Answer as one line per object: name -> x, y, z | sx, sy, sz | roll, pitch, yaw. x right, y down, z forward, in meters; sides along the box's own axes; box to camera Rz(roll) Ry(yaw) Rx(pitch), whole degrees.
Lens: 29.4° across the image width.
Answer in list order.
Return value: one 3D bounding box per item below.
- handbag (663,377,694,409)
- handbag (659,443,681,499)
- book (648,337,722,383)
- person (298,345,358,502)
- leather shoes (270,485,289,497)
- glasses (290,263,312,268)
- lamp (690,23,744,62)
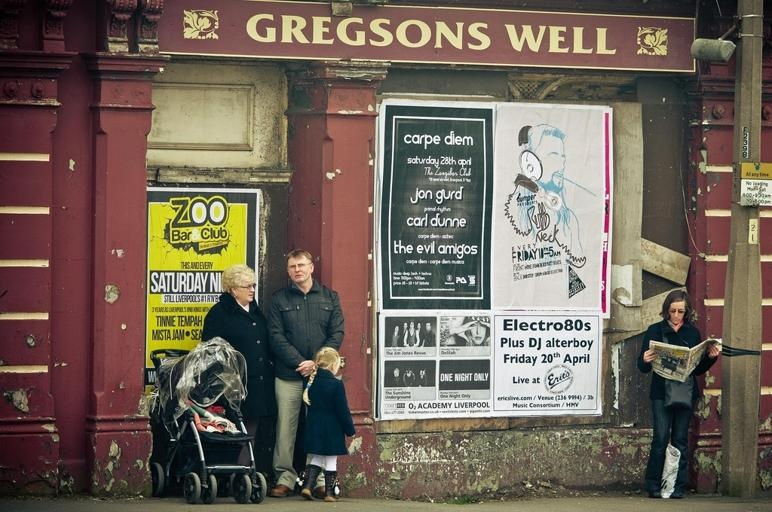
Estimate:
handbag -> 3.227, 1.502, 16.253 | 0.317, 0.361, 0.129 | 3, 1, -3
handbag -> 3.165, 2.382, 16.348 | 0.233, 0.586, 0.110 | -2, -2, 9
book -> 3.305, 1.083, 16.429 | 0.763, 0.462, 0.726 | -2, 13, -6
person -> -0.679, 1.790, 15.711 | 0.391, 1.634, 0.618 | 0, -3, -39
leather shoes -> -1.143, 2.519, 15.906 | 0.211, 0.093, 0.088 | 10, 12, -31
glasses -> -0.910, 0.105, 15.895 | 0.218, 0.059, 0.083 | -1, -3, -16
lamp -> 3.677, -2.351, 16.410 | 0.523, 0.464, 0.679 | -3, -3, 17
